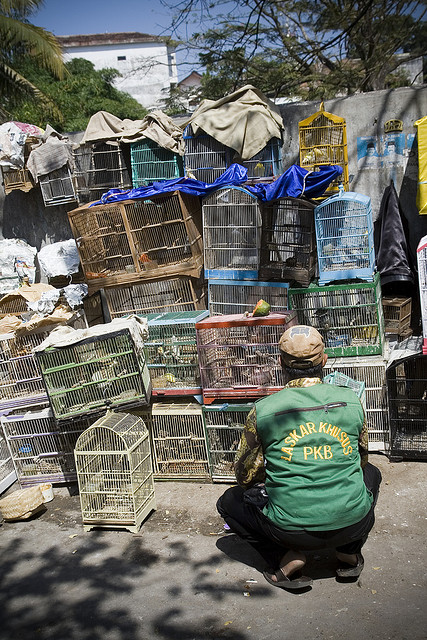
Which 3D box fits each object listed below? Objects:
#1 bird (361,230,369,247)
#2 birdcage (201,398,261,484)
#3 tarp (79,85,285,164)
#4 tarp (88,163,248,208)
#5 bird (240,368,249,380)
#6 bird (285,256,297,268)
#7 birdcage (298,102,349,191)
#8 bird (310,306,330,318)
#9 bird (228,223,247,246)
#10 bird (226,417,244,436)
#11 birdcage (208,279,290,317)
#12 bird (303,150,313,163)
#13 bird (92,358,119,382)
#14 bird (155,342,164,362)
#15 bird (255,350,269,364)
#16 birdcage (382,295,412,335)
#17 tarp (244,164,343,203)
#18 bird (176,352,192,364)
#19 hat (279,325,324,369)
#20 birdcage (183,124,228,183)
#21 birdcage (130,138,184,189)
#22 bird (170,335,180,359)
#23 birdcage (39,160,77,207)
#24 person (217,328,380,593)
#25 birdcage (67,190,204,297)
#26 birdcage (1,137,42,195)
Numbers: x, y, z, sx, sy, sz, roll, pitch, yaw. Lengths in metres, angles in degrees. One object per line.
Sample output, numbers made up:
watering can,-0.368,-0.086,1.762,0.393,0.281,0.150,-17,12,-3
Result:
bird,1.338,-0.710,4.814,0.032,0.109,0.121,3,-3,-36
birdcage,0.118,0.877,4.581,0.666,0.718,0.655,-3,10,0
tarp,-0.253,-2.224,6.548,2.111,0.923,0.583,-6,8,22
tarp,-0.286,-1.335,5.497,1.613,0.497,0.662,-1,12,16
bird,0.243,0.417,4.266,0.077,0.068,0.022,-5,-12,43
bird,0.714,-0.529,5.015,0.079,0.088,0.096,-1,-18,4
birdcage,1.369,-1.995,6.578,0.580,1.160,0.569,5,16,31
bird,0.929,-0.067,4.695,0.090,0.039,0.112,-19,0,-39
bird,0.244,-0.842,5.343,0.143,0.133,0.242,-17,50,-36
bird,0.154,0.820,4.285,0.125,0.108,0.035,0,-1,33
birdcage,0.384,-0.261,5.360,0.628,0.374,0.704,1,10,21
bird,1.096,-1.889,6.395,0.107,0.093,0.026,12,6,30
bird,-0.818,0.388,4.185,0.192,0.172,0.111,3,12,-13
bird,-0.470,0.271,4.857,0.041,0.128,0.141,-8,9,-29
bird,0.376,0.280,4.195,0.088,0.080,0.024,4,27,32
birdcage,1.945,-0.022,5.826,0.199,0.241,0.362,7,13,37
tarp,0.821,-1.348,5.437,0.973,0.367,0.577,-3,15,12
bird,-0.236,0.336,4.835,0.156,0.080,0.145,-1,4,7
hat,0.461,0.139,2.851,0.205,0.198,0.182,-13,8,-29
birdcage,-0.025,-1.956,6.853,0.569,0.928,0.538,-1,15,9
birdcage,-0.668,-1.912,6.907,0.578,0.703,0.521,-2,16,7
bird,-0.340,0.234,4.787,0.093,0.198,0.024,-6,9,29
birdcage,-2.021,-1.788,7.203,0.348,0.564,0.278,-12,18,-25
person,0.573,0.709,2.908,0.931,1.194,0.735,-3,-4,-21
birdcage,-0.747,-0.858,6.092,1.323,0.996,0.777,-4,10,4
birdcage,-2.639,-2.088,7.507,0.688,0.495,0.542,-8,7,4
